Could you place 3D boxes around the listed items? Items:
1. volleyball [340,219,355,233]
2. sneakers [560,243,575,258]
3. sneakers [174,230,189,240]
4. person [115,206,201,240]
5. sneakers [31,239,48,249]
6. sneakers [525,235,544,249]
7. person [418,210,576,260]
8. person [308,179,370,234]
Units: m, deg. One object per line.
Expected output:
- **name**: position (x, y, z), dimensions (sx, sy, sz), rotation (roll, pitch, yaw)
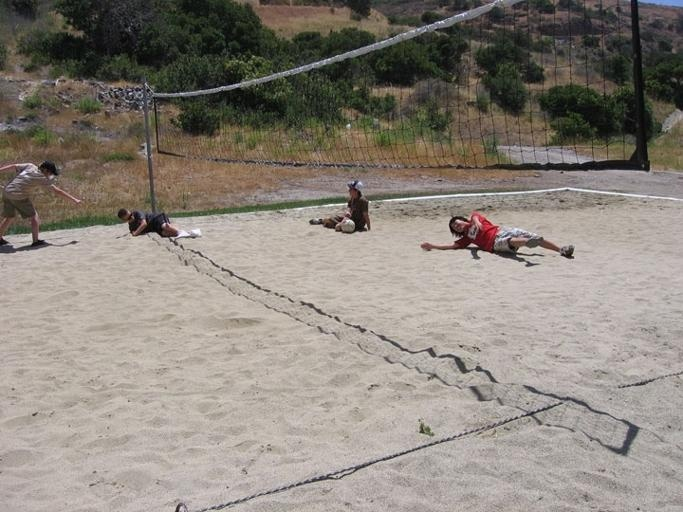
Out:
- **volleyball**: position (0.101, -0.486, 11.539), dimensions (0.203, 0.204, 0.157), rotation (3, 30, 5)
- **sneakers**: position (3.175, -0.069, 10.062), dimensions (0.099, 0.121, 0.291), rotation (-5, 7, 3)
- **sneakers**: position (-2.430, -0.333, 10.869), dimensions (0.231, 0.103, 0.251), rotation (-5, 12, -12)
- **person**: position (-2.822, -0.520, 11.035), dimensions (1.188, 0.459, 0.550), rotation (0, 12, 9)
- **sneakers**: position (-4.479, -0.181, 10.646), dimensions (0.230, 0.094, 0.105), rotation (-3, 16, -8)
- **sneakers**: position (2.665, -0.199, 9.901), dimensions (0.311, 0.103, 0.130), rotation (-5, 17, -45)
- **person**: position (2.335, -0.280, 10.307), dimensions (1.485, 0.475, 0.923), rotation (-1, 2, 41)
- **person**: position (-0.030, -0.816, 11.853), dimensions (1.077, 0.781, 0.508), rotation (-2, 15, 7)
